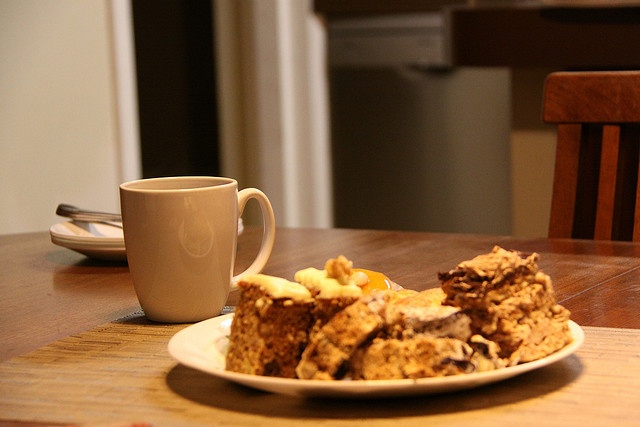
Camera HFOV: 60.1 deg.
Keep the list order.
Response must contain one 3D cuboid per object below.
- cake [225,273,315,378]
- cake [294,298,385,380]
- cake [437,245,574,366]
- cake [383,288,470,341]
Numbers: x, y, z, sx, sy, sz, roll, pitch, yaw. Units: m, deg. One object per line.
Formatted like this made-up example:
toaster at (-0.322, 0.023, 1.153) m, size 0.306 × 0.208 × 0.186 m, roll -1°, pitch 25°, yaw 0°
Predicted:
cake at (-0.038, 0.093, 0.483) m, size 0.080 × 0.089 × 0.075 m, roll 15°, pitch -6°, yaw -22°
cake at (0.022, 0.100, 0.453) m, size 0.044 × 0.074 × 0.022 m, roll 44°, pitch -5°, yaw 39°
cake at (0.143, 0.076, 0.479) m, size 0.083 × 0.107 × 0.041 m, roll -25°, pitch -15°, yaw -31°
cake at (0.082, 0.072, 0.423) m, size 0.038 × 0.015 × 0.050 m, roll -2°, pitch 10°, yaw -7°
